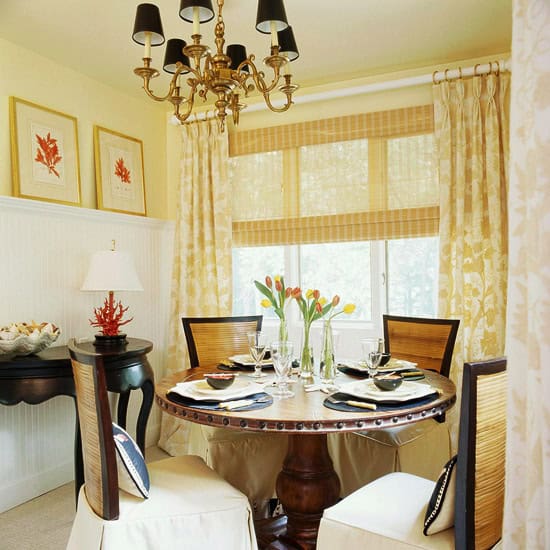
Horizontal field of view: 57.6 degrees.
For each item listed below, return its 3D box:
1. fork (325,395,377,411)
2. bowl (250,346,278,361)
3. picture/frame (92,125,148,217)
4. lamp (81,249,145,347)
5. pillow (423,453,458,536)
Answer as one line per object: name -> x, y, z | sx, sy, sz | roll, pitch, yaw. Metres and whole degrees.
fork -> 0.260, 0.429, 1.665 | 0.027, 0.026, 0.195 | -2, 2, -31
bowl -> -0.049, 0.327, 2.112 | 0.122, 0.101, 0.144 | 0, -9, 0
picture/frame -> -1.121, -0.739, 3.618 | 0.048, 0.642, 0.471 | -2, 0, 26
lamp -> -1.012, 0.089, 3.096 | 0.343, 0.644, 0.653 | -3, 0, -20
pillow -> 0.445, 0.586, 1.342 | 0.051, 0.178, 0.179 | 12, -13, 23
